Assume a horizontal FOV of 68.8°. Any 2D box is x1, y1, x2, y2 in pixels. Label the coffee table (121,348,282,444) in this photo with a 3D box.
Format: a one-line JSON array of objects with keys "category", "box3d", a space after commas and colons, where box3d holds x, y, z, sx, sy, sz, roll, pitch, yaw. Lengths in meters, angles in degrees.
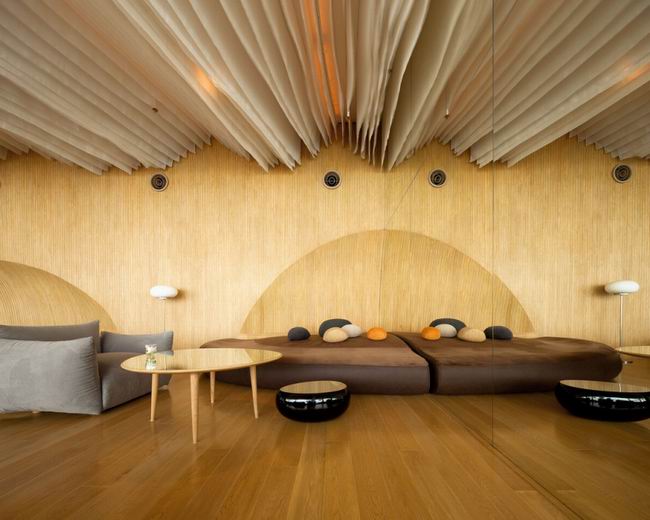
[{"category": "coffee table", "box3d": [-0.932, 0.990, 3.730, 1.179, 0.627, 1.283, -2, 9, -6]}]
